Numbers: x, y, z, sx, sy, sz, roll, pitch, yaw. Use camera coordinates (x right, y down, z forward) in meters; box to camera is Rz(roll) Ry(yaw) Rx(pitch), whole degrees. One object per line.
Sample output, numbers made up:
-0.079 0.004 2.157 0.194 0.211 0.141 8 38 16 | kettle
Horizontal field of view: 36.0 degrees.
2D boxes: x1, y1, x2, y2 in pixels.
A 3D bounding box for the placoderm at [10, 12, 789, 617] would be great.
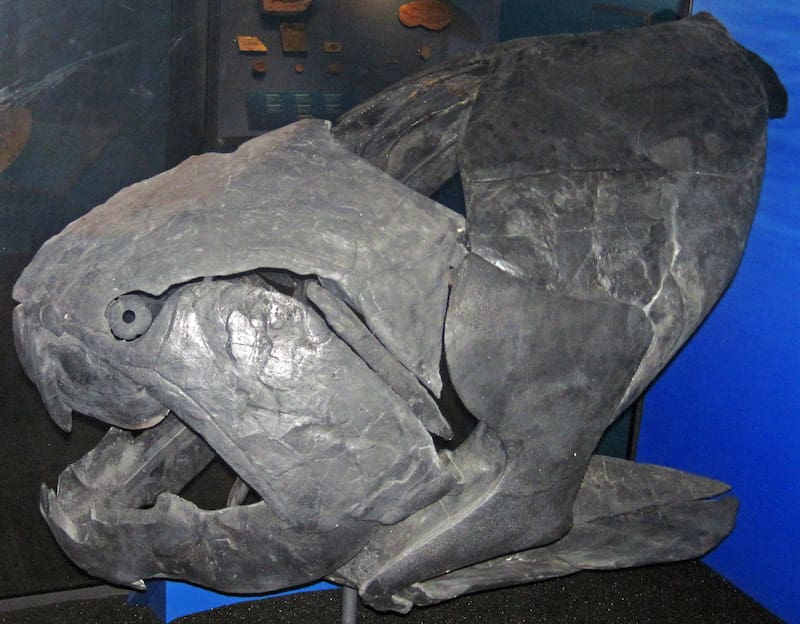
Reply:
0.008 0.017 3.064 1.806 1.137 1.177 -14 43 -11 | placoderm
